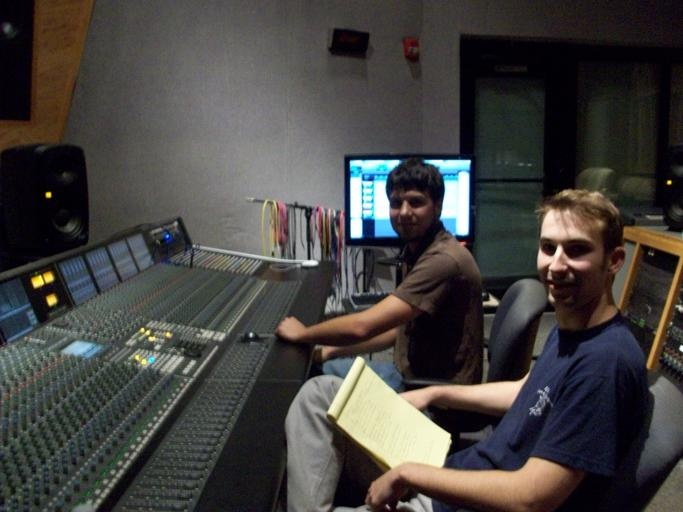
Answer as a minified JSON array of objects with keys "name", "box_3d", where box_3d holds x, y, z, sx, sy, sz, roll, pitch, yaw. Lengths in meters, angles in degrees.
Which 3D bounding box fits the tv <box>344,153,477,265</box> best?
[{"name":"tv","box_3d":[0.395,-0.303,2.894,0.717,0.582,0.103,0,2,1]}]

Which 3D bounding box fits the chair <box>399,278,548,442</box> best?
[{"name":"chair","box_3d":[0.530,0.340,2.295,0.583,0.982,0.600,5,11,5]}]
